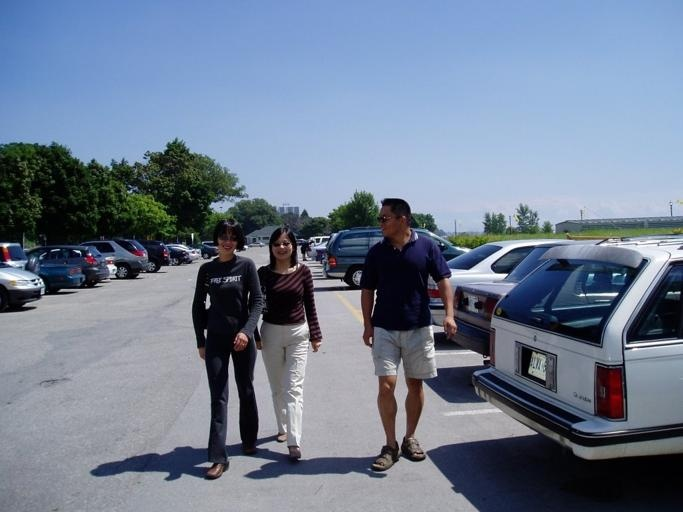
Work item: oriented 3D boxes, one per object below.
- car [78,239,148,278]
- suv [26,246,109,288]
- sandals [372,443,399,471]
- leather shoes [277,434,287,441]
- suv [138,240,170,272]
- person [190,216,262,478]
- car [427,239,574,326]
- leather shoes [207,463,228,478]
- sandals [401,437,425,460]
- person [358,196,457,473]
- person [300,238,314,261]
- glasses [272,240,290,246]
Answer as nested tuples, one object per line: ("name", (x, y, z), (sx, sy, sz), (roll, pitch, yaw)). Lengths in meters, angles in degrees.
("car", (-11.696, 0.133, 27.135), (3.010, 1.558, 1.761), (3, 0, -10))
("suv", (-11.049, 0.307, 20.933), (2.819, 1.061, 1.389), (5, 2, 1))
("sandals", (0.404, 1.840, 4.824), (0.110, 0.144, 0.328), (-8, -14, 25))
("leather shoes", (-0.609, 1.852, 5.450), (0.069, 0.091, 0.202), (2, -9, -17))
("suv", (-12.623, -0.172, 34.009), (2.766, 1.466, 1.467), (5, 1, -7))
("person", (-1.037, 0.796, 4.948), (0.645, 2.267, 0.628), (-1, 3, -20))
("car", (2.989, 0.268, 9.573), (3.108, 1.110, 1.386), (-6, 4, -17))
("leather shoes", (-1.110, 1.909, 4.741), (0.076, 0.096, 0.222), (-6, -11, 21))
("sandals", (0.690, 1.825, 5.038), (0.126, 0.124, 0.261), (0, -7, -14))
("person", (0.619, 0.686, 5.009), (0.855, 2.459, 0.657), (0, 3, 1))
("person", (-3.243, -0.558, 47.687), (1.282, 1.046, 2.971), (-1, 8, 0))
("glasses", (-0.590, -0.127, 5.220), (0.156, 0.066, 0.045), (-1, 3, -11))
